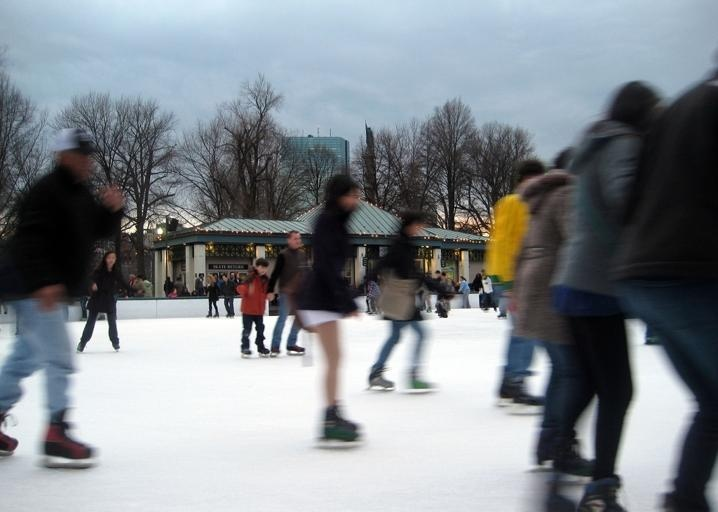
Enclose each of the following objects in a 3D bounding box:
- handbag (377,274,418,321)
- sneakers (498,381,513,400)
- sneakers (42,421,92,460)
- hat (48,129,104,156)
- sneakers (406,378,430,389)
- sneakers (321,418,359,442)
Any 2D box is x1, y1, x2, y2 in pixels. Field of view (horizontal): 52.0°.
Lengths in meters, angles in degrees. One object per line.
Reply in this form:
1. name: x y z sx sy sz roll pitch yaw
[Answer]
1. handbag: 0.419 0.444 7.706 0.397 0.533 0.294 3 -20 4
2. sneakers: 1.372 1.278 6.946 0.160 0.167 0.162 2 -8 -2
3. sneakers: -2.026 1.315 5.177 0.333 0.306 0.188 2 3 -17
4. hat: -2.076 -0.841 5.385 0.263 0.217 0.396 1 3 -25
5. sneakers: 0.635 1.357 7.689 0.170 0.064 0.134 2 -4 -1
6. sneakers: -0.143 1.362 5.737 0.262 0.175 0.158 -2 -6 2
